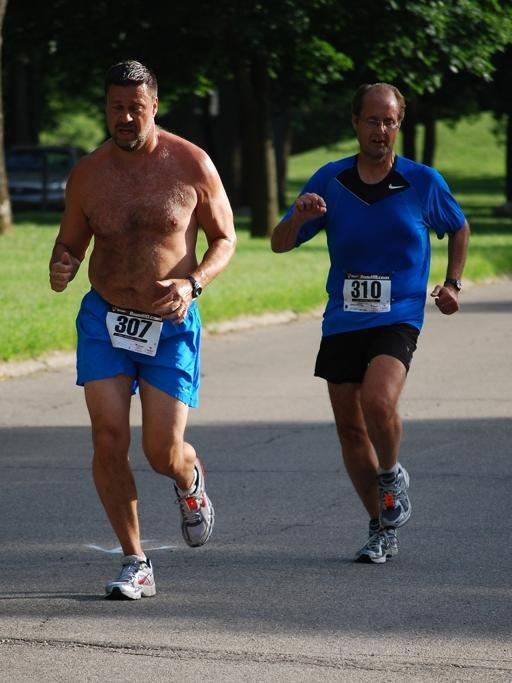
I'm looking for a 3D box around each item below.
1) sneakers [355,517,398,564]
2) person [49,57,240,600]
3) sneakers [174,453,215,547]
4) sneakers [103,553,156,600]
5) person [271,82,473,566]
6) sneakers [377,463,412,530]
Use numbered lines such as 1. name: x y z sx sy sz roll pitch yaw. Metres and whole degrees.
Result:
1. sneakers: 0.497 0.817 4.537 0.112 0.102 0.241 3 3 22
2. person: -0.427 -0.057 4.185 0.574 1.949 0.657 9 11 43
3. sneakers: -0.256 0.639 4.422 0.153 0.365 0.185 -9 13 10
4. sneakers: -0.450 0.850 3.992 0.182 0.158 0.146 1 8 -6
5. person: 0.532 -0.080 4.513 0.651 1.924 0.604 -4 10 -37
6. sneakers: 0.563 0.623 4.469 0.119 0.273 0.137 -2 -26 26
